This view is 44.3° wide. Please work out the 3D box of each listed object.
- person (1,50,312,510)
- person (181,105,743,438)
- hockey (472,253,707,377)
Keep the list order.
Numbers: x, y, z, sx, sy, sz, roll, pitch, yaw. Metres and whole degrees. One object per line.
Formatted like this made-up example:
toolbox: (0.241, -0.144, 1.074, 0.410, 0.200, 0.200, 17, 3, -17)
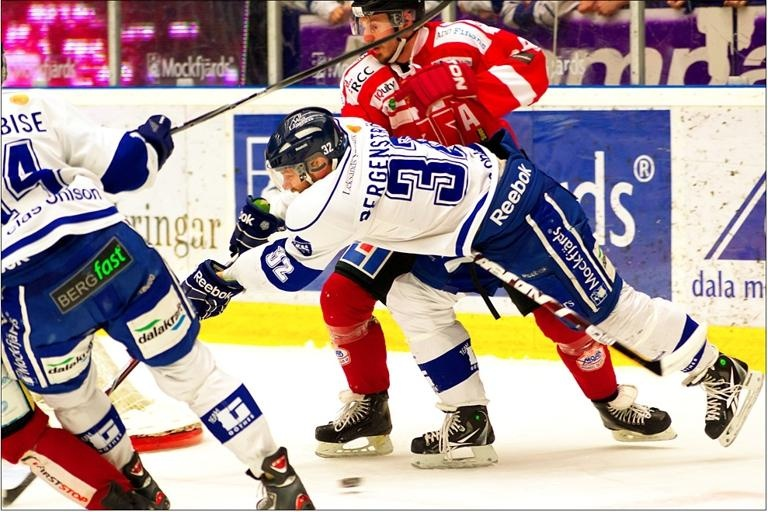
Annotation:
person: (-1.103, 0.229, 4.010, 1.108, 1.814, 0.538, -4, 14, -8)
person: (0.366, 0.135, 4.460, 2.780, 1.519, 0.760, 2, 9, 10)
hockey: (1.112, 0.303, 4.840, 1.153, 0.099, 0.134, 34, 10, 5)
